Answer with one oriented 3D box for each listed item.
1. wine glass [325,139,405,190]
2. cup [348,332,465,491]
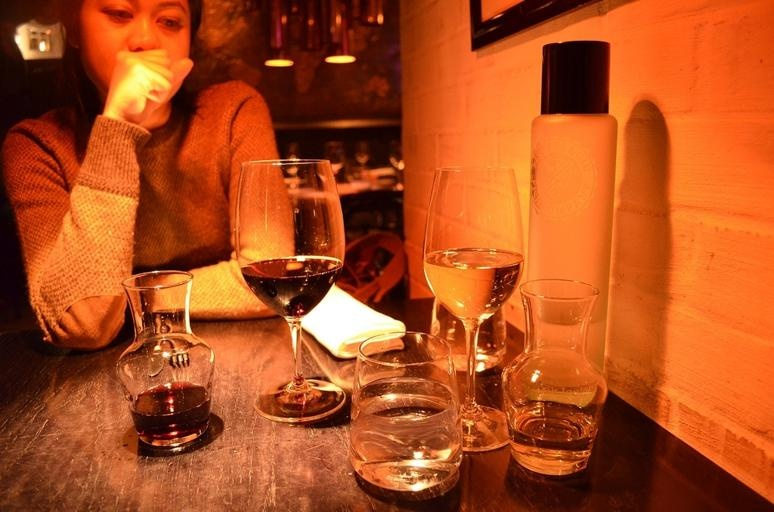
[{"bbox_3d":[-0.097,-0.395,2.568,0.319,0.101,0.235,0,9,14],"label":"wine glass"},{"bbox_3d":[0.009,0.175,0.747,0.177,0.192,0.187,0,3,0],"label":"cup"}]
